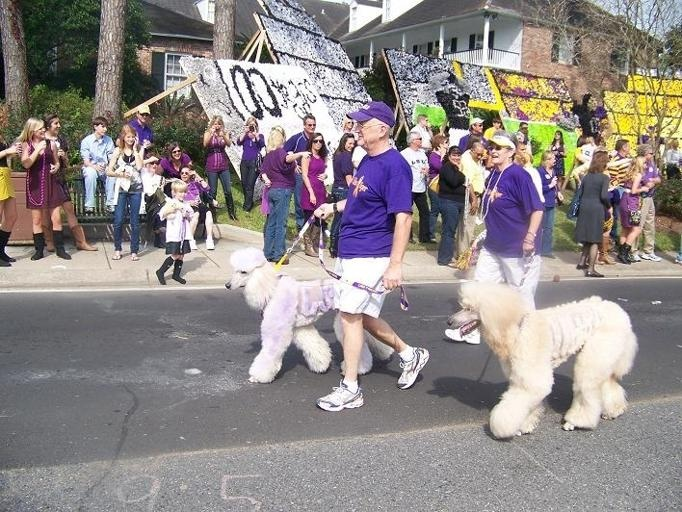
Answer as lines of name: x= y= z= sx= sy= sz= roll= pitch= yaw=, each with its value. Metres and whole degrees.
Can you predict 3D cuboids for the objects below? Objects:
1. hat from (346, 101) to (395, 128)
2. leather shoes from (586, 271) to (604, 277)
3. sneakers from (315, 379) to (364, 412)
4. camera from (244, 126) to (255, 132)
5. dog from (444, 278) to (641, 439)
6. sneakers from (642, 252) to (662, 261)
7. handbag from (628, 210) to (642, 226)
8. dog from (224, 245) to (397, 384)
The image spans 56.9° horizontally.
hat: x=0.300 y=-1.318 z=5.810 sx=0.364 sy=0.212 sz=0.242 roll=6 pitch=11 yaw=-12
leather shoes: x=4.977 y=0.346 z=12.310 sx=0.269 sy=0.115 sz=0.139 roll=-2 pitch=6 yaw=-2
sneakers: x=0.003 y=1.325 z=6.015 sx=0.507 sy=0.307 sz=0.206 roll=-3 pitch=9 yaw=-16
camera: x=-2.214 y=-3.133 z=15.322 sx=0.208 sy=0.103 sz=0.307 roll=4 pitch=-8 yaw=-7
dog: x=1.776 y=0.917 z=5.587 sx=1.579 sy=1.322 sz=0.588 roll=-2 pitch=12 yaw=-19
sneakers: x=7.104 y=0.034 z=14.435 sx=0.457 sy=0.208 sz=0.199 roll=3 pitch=15 yaw=9
handbag: x=6.314 y=-0.819 z=13.527 sx=0.208 sy=0.300 sz=0.307 roll=1 pitch=2 yaw=9
dog: x=-0.232 y=0.620 z=6.508 sx=1.694 sy=1.454 sz=0.615 roll=-2 pitch=16 yaw=0
